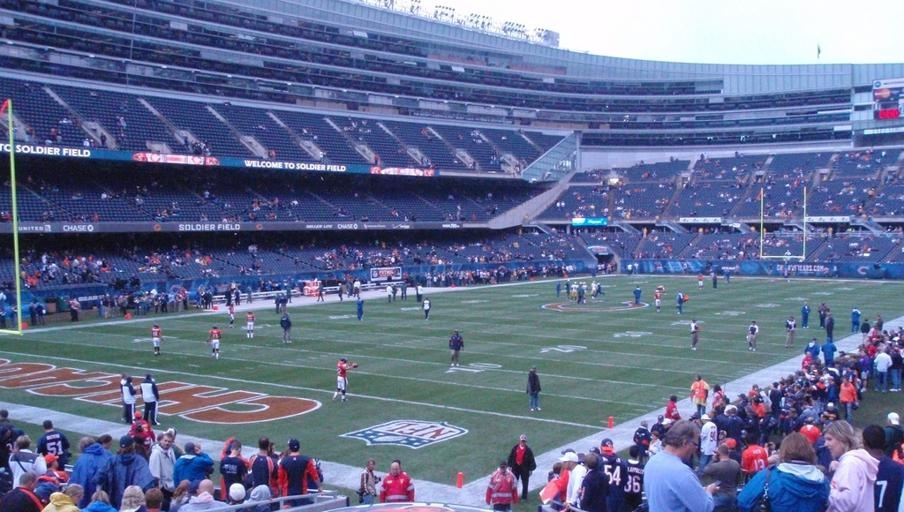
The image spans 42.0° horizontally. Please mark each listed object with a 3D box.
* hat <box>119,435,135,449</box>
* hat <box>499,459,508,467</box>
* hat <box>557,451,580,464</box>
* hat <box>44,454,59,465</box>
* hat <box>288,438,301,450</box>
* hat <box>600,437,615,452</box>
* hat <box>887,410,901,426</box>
[{"bbox_3d":[-22.608,12.981,81.806,0.979,0.825,0.495,-3,-3,20],"label":"hat"},{"bbox_3d":[3.712,14.871,83.514,0.486,0.403,0.543,2,-1,-7],"label":"hat"},{"bbox_3d":[8.134,14.202,82.723,1.249,0.482,0.822,-1,-4,19],"label":"hat"},{"bbox_3d":[-28.048,14.362,82.606,0.636,0.383,0.803,4,2,18],"label":"hat"},{"bbox_3d":[-11.196,13.421,83.152,0.600,0.861,0.864,-1,-3,-16],"label":"hat"},{"bbox_3d":[10.955,13.419,82.953,1.033,1.071,1.246,1,-2,-41],"label":"hat"},{"bbox_3d":[30.841,11.422,82.042,0.583,0.789,1.334,-3,-4,28],"label":"hat"}]
